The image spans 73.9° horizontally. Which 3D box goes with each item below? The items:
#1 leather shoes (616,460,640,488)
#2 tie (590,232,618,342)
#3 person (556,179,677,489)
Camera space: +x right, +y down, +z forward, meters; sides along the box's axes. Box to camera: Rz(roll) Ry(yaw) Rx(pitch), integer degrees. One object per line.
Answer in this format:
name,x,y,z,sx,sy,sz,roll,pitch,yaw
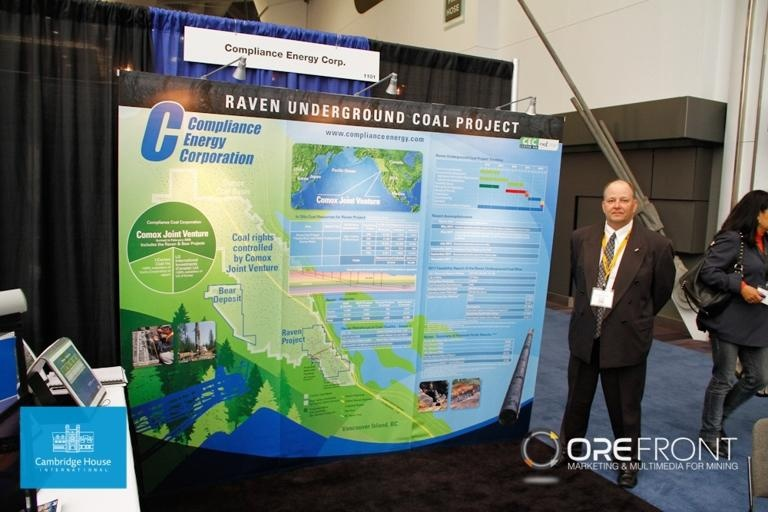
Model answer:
leather shoes,1.677,1.504,3.517,0.092,0.106,0.255,0,7,16
tie,1.492,0.201,3.479,0.115,0.695,0.222,8,14,24
person,1.566,0.516,3.555,0.675,2.034,0.430,9,15,29
